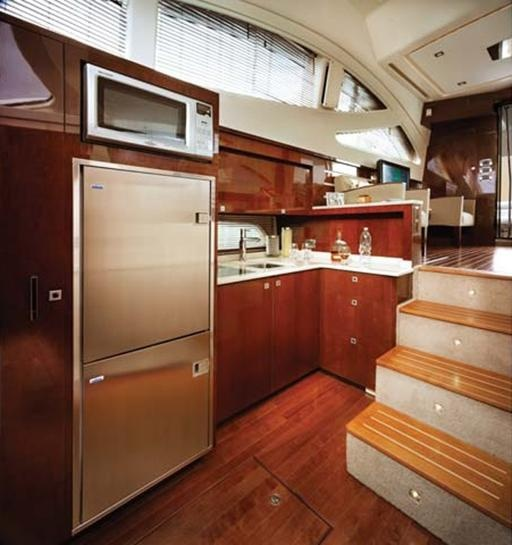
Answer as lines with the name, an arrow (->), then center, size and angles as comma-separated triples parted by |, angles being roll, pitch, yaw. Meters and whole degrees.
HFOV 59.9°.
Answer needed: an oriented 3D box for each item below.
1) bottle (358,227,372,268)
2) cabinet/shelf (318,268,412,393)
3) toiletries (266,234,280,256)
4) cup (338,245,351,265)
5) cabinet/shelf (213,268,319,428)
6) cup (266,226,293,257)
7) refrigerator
bottle -> 0.842, -0.207, 3.385 | 0.091, 0.259, 0.197 | 1, 8, 14
cabinet/shelf -> 0.753, 0.383, 3.167 | 0.212, 0.778, 0.662 | -6, 9, -37
toiletries -> 0.133, -0.226, 3.808 | 0.128, 0.265, 0.155 | 0, 2, -4
cup -> 0.689, -0.136, 3.406 | 0.108, 0.194, 0.106 | -1, 1, 0
cabinet/shelf -> -0.005, 0.354, 3.125 | 0.941, 0.791, 0.501 | -6, 11, -38
cup -> 0.236, -0.255, 3.881 | 0.300, 0.339, 0.144 | 2, -2, -40
refrigerator -> -0.579, 0.197, 2.294 | 0.719, 1.599, 0.521 | -8, 23, -36
